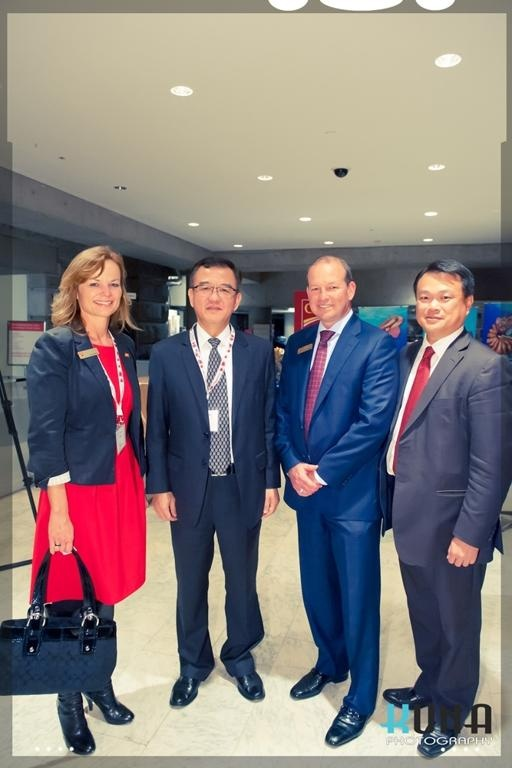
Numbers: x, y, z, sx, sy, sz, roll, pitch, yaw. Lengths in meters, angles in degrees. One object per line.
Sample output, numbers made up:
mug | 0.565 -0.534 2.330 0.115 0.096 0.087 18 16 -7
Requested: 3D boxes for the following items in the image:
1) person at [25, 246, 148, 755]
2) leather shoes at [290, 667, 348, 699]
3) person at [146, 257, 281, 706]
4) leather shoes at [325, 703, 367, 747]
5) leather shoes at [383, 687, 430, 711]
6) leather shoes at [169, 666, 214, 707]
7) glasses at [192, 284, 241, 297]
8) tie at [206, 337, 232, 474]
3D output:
person | -0.599 0.374 1.959 0.266 1.708 0.565 3 5 30
leather shoes | 0.243 1.152 2.238 0.234 0.092 0.077 2 0 -33
person | -0.163 0.363 2.161 0.498 1.651 0.223 0 5 1
leather shoes | 0.308 1.176 1.943 0.064 0.075 0.191 -6 -19 33
leather shoes | 0.562 1.163 2.117 0.154 0.060 0.065 1 6 10
leather shoes | -0.256 1.147 2.176 0.066 0.076 0.192 7 2 16
glasses | -0.149 -0.340 2.070 0.167 0.047 0.078 -1 5 -6
tie | -0.139 0.083 2.077 0.083 0.496 0.086 -1 5 -5
